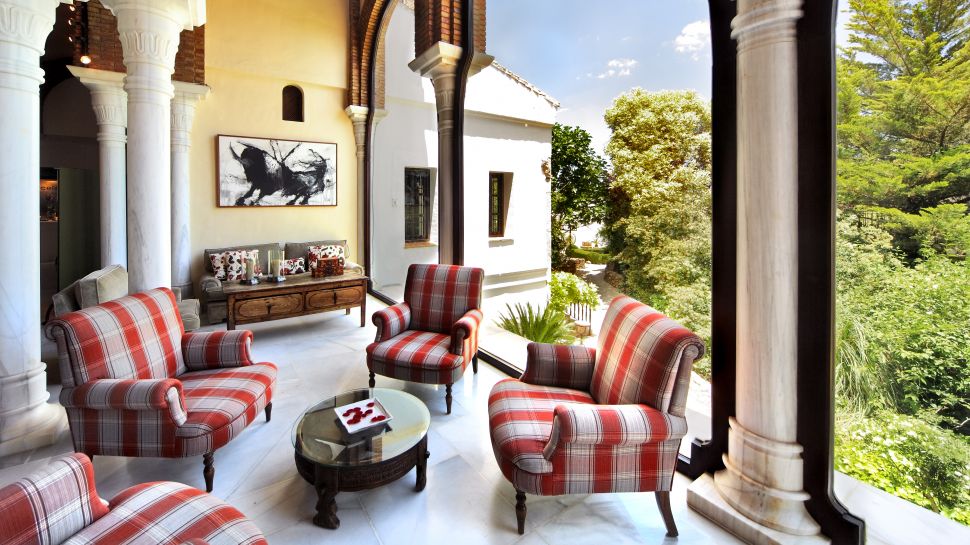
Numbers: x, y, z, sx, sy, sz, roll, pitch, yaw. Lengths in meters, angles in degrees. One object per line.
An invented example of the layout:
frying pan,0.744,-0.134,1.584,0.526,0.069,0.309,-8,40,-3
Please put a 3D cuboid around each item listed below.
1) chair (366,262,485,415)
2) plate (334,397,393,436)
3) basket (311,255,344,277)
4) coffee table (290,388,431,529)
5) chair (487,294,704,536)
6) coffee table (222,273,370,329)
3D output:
chair,-0.504,0.784,8.507,1.796,1.854,1.888,4,10,17
plate,-1.410,1.651,6.993,0.425,0.083,0.403,-8,31,-25
basket,-2.602,-0.098,10.039,0.482,0.280,0.353,-1,7,-23
coffee table,-1.459,2.123,7.319,1.659,0.734,1.656,7,21,20
chair,1.364,1.843,7.762,2.594,2.367,2.890,3,6,-3
coffee table,-3.106,0.537,9.830,2.413,0.823,0.872,-7,13,-42
